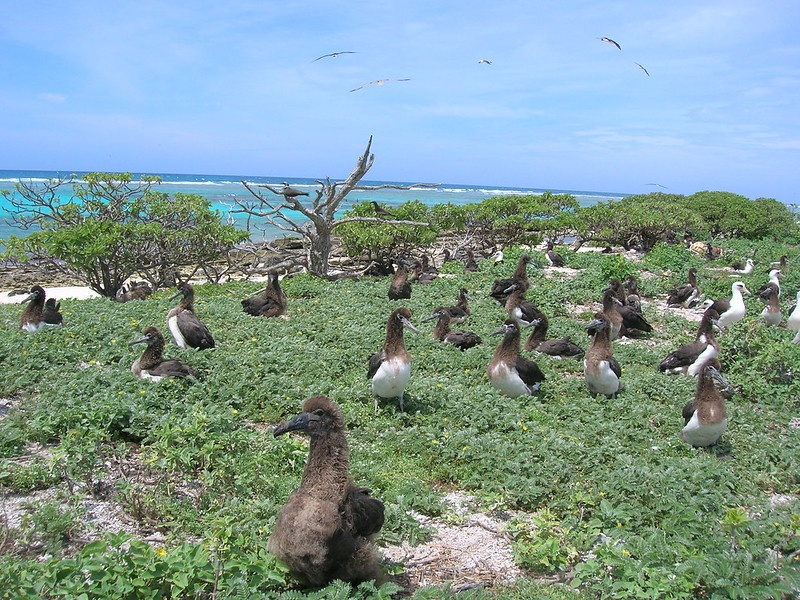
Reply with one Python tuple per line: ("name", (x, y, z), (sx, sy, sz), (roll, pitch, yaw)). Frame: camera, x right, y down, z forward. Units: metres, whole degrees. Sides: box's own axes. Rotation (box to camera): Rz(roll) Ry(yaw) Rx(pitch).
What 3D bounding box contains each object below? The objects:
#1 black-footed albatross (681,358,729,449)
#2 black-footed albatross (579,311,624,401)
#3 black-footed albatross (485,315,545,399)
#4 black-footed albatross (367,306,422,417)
("black-footed albatross", (5.258, 1.853, 10.552), (0.703, 1.440, 0.590), (6, 14, 30))
("black-footed albatross", (4.244, 1.141, 12.532), (0.811, 1.570, 0.825), (1, 6, -16))
("black-footed albatross", (2.303, 1.094, 12.274), (1.009, 1.473, 1.014), (-2, 9, -28))
("black-footed albatross", (-0.136, 1.069, 11.537), (1.063, 1.757, 1.103), (2, 3, 0))
